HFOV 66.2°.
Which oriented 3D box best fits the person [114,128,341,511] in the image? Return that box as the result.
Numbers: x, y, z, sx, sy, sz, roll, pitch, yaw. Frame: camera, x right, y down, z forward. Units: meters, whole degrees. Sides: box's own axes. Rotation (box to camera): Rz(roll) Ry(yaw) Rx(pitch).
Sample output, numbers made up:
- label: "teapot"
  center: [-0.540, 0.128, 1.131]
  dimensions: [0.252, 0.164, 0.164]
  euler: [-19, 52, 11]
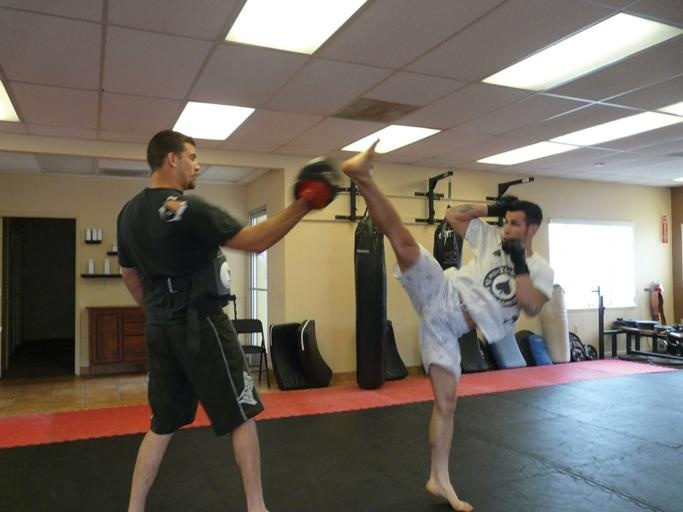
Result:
- label: "person"
  center: [-0.858, 0.356, 3.016]
  dimensions: [1.235, 2.217, 0.406]
  euler: [1, 3, 24]

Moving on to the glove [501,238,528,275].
- label: "glove"
  center: [1.123, 0.000, 3.416]
  dimensions: [0.140, 0.237, 0.086]
  euler: [-4, 9, 1]

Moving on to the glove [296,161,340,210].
- label: "glove"
  center: [-0.131, -0.389, 2.806]
  dimensions: [0.256, 0.270, 0.099]
  euler: [0, 2, -3]
